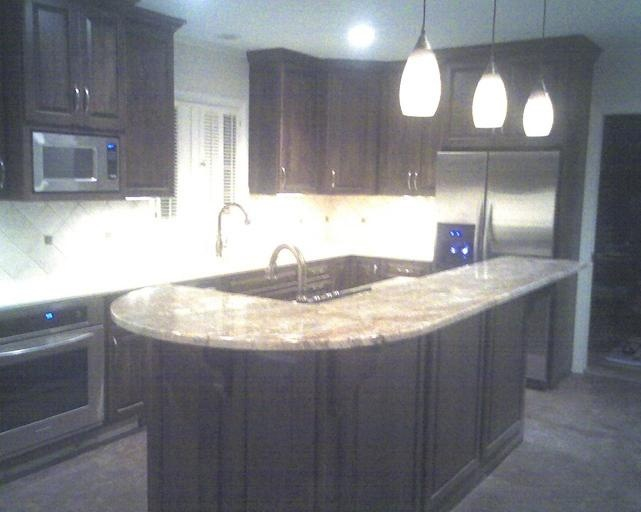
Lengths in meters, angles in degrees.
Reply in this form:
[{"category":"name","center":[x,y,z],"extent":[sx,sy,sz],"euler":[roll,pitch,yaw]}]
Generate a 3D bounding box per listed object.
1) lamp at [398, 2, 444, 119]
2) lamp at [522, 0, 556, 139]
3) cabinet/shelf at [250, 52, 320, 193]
[{"category":"lamp","center":[0.482,-0.924,2.729],"extent":[0.177,0.498,0.169],"euler":[5,11,34]},{"category":"lamp","center":[1.517,-1.239,3.880],"extent":[0.217,0.892,1.566],"euler":[3,9,20]},{"category":"cabinet/shelf","center":[-0.295,-1.166,5.075],"extent":[0.708,1.214,0.340],"euler":[-1,9,-2]}]
